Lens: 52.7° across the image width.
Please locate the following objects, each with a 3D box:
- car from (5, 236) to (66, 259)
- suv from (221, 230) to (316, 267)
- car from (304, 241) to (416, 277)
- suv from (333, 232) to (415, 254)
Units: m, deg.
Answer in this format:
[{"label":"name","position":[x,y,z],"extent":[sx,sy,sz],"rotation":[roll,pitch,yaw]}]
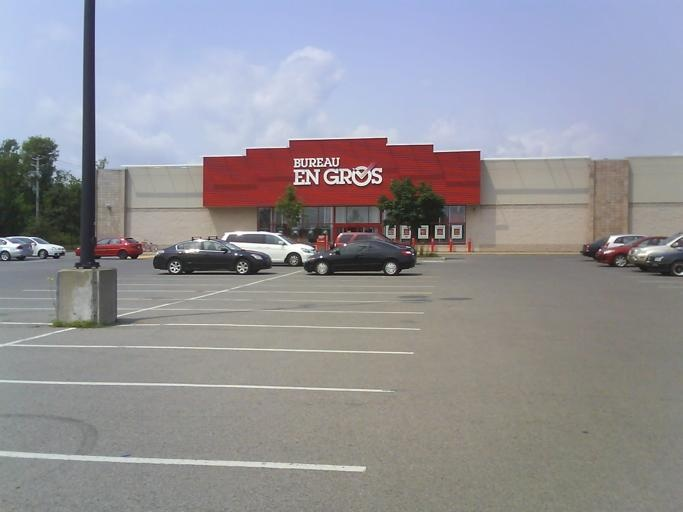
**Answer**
[{"label":"car","position":[-20.666,-0.358,46.381],"extent":[3.405,1.246,1.704],"rotation":[2,5,1]},{"label":"suv","position":[-3.435,-0.399,32.991],"extent":[4.018,1.605,1.875],"rotation":[0,2,-1]},{"label":"car","position":[0.815,0.117,26.974],"extent":[3.539,1.263,1.720],"rotation":[2,-2,5]},{"label":"suv","position":[1.268,-0.871,33.217],"extent":[3.254,1.202,1.551],"rotation":[1,1,6]}]
